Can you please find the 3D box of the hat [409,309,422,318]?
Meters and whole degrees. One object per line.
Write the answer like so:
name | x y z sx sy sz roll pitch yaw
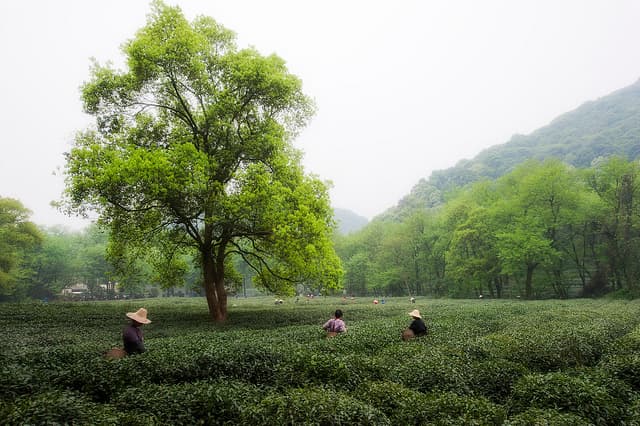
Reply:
hat | 8.407 8.881 44.695 1.152 0.503 1.315 7 -16 10

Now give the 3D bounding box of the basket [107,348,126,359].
basket | -15.607 10.664 38.863 1.237 0.711 0.752 0 -12 -24

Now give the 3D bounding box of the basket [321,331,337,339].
basket | 0.705 10.243 42.990 1.600 0.457 1.001 -12 -13 29
